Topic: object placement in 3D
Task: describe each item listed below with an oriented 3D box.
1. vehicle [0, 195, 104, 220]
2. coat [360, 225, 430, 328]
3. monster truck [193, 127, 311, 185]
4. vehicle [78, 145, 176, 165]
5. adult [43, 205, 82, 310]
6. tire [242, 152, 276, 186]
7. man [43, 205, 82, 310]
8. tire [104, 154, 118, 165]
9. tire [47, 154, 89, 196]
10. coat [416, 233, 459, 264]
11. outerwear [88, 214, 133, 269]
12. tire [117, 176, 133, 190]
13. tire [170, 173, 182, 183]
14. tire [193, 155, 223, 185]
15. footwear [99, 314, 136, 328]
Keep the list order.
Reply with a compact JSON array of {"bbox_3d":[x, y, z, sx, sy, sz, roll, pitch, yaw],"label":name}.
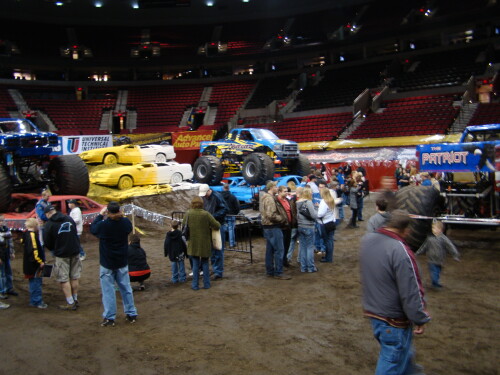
[{"bbox_3d":[-6.066,0.498,10.871,2.066,0.485,1.132,-5,6,-35],"label":"vehicle"},{"bbox_3d":[1.491,0.924,3.705,0.746,0.984,0.402,6,16,38],"label":"coat"},{"bbox_3d":[-0.440,-1.177,14.543,4.419,1.671,2.692,-2,-2,34],"label":"monster truck"},{"bbox_3d":[-5.119,-1.403,15.550,2.979,0.574,1.598,0,0,-27],"label":"vehicle"},{"bbox_3d":[-3.355,1.318,6.504,0.537,1.764,0.441,-10,14,-24],"label":"adult"},{"bbox_3d":[0.275,-0.653,13.253,0.666,1.142,1.411,-4,10,-34],"label":"tire"},{"bbox_3d":[-3.355,1.318,6.504,0.537,1.764,0.441,-10,14,-24],"label":"man"},{"bbox_3d":[-5.883,-1.158,14.991,0.569,0.441,0.218,-3,-8,-41],"label":"tire"},{"bbox_3d":[-6.247,-0.260,12.222,0.856,1.504,1.854,-9,19,-41],"label":"tire"},{"bbox_3d":[3.441,1.123,6.648,1.024,0.532,0.289,5,-11,-13],"label":"coat"},{"bbox_3d":[-2.284,0.902,5.968,0.585,0.831,0.352,-8,13,-19],"label":"outerwear"},{"bbox_3d":[-4.758,-0.171,13.509,0.641,0.502,0.231,-5,7,-44],"label":"tire"},{"bbox_3d":[-3.118,-0.408,15.009,0.193,0.422,0.532,5,6,41],"label":"tire"},{"bbox_3d":[-1.783,-0.683,15.087,0.712,1.391,1.745,-9,16,-42],"label":"tire"},{"bbox_3d":[-2.210,2.180,5.901,0.612,0.189,0.182,5,-6,-12],"label":"footwear"}]
